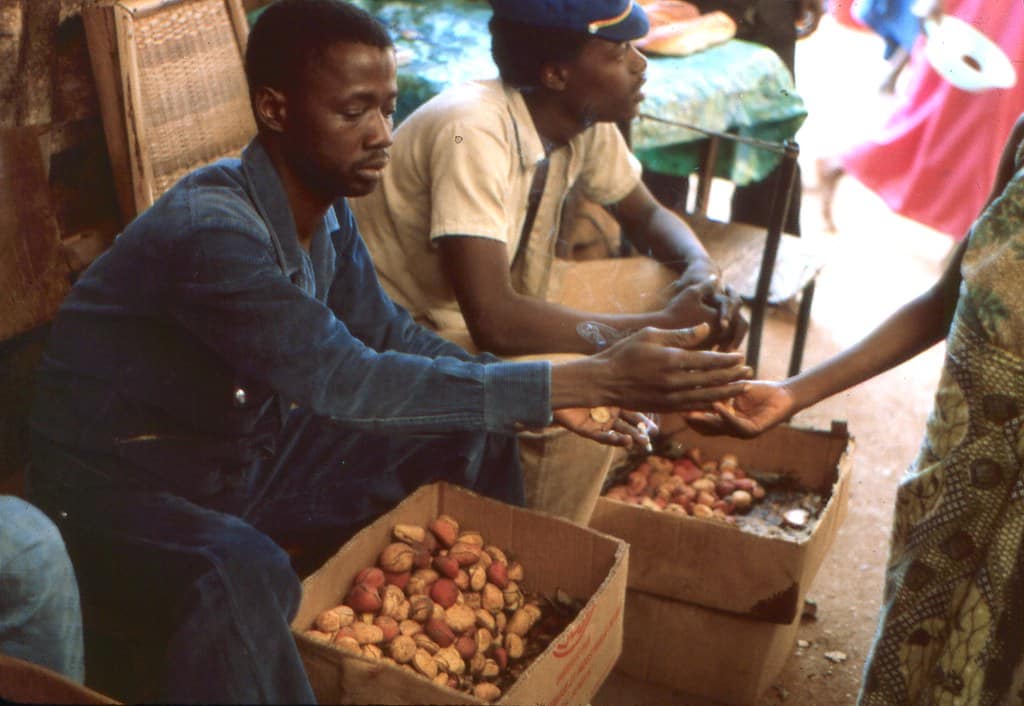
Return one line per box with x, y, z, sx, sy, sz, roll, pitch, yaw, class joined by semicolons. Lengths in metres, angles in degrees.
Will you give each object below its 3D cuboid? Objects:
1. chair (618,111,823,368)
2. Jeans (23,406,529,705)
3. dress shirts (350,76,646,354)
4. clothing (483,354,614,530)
0.883;-0.520;4.015;0.645;1.135;0.600;25;53;27;chair
-0.791;0.550;2.583;0.787;0.423;1.089;26;13;10;Jeans
-0.188;-0.603;3.636;0.966;0.887;0.876;33;43;18;dress shirts
0.107;0.267;2.835;0.260;0.363;0.475;15;19;40;clothing
